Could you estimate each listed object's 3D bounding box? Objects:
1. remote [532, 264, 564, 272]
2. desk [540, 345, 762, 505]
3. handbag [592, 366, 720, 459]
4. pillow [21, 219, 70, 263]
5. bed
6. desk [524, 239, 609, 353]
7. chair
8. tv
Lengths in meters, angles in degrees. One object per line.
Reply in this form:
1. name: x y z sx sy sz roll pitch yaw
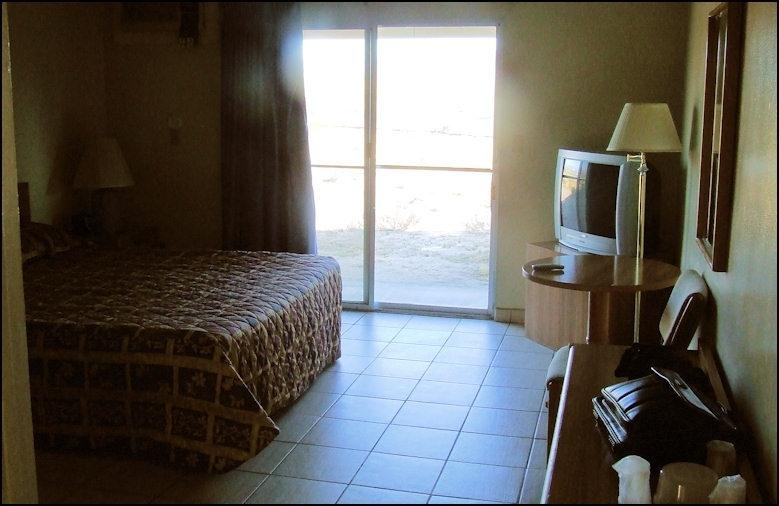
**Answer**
1. remote: 0.989 0.095 3.582 0.235 0.055 0.067 2 7 -6
2. desk: 0.846 0.449 1.939 0.564 0.229 0.971 2 13 16
3. handbag: 0.941 0.578 2.015 0.321 0.153 0.313 -11 13 2
4. pillow: -2.928 -0.104 4.785 0.403 0.119 0.310 14 17 22
5. bed: -1.540 0.468 3.553 1.737 0.712 1.691 3 13 6
6. desk: 1.309 0.324 4.175 0.279 0.737 0.853 -7 12 -26
7. chair: 1.370 0.613 3.243 0.672 1.012 0.622 2 11 10
8. tv: 1.733 -0.387 4.492 0.506 0.728 0.774 -9 13 -25
